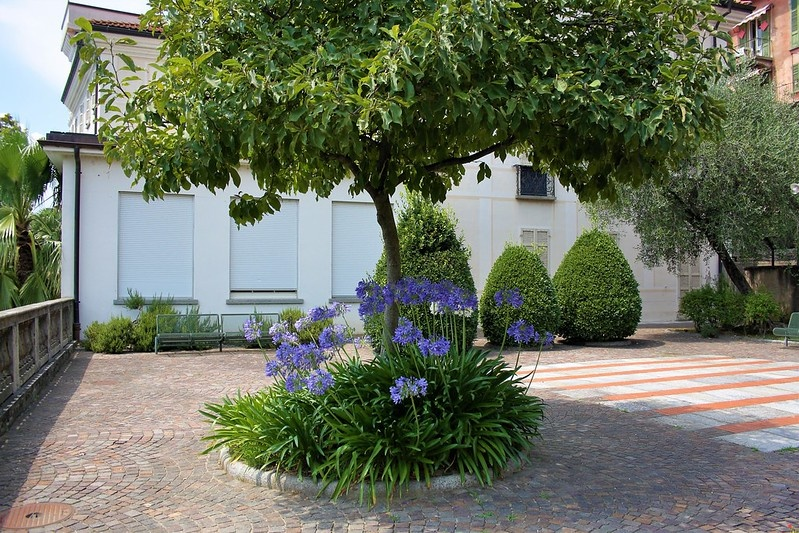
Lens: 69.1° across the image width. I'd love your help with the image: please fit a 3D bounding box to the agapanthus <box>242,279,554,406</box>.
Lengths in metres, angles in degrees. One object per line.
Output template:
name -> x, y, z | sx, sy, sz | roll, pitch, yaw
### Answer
agapanthus -> -0.266, 0.883, 6.873 | 2.528, 1.184, 2.278 | 0, -2, -5
